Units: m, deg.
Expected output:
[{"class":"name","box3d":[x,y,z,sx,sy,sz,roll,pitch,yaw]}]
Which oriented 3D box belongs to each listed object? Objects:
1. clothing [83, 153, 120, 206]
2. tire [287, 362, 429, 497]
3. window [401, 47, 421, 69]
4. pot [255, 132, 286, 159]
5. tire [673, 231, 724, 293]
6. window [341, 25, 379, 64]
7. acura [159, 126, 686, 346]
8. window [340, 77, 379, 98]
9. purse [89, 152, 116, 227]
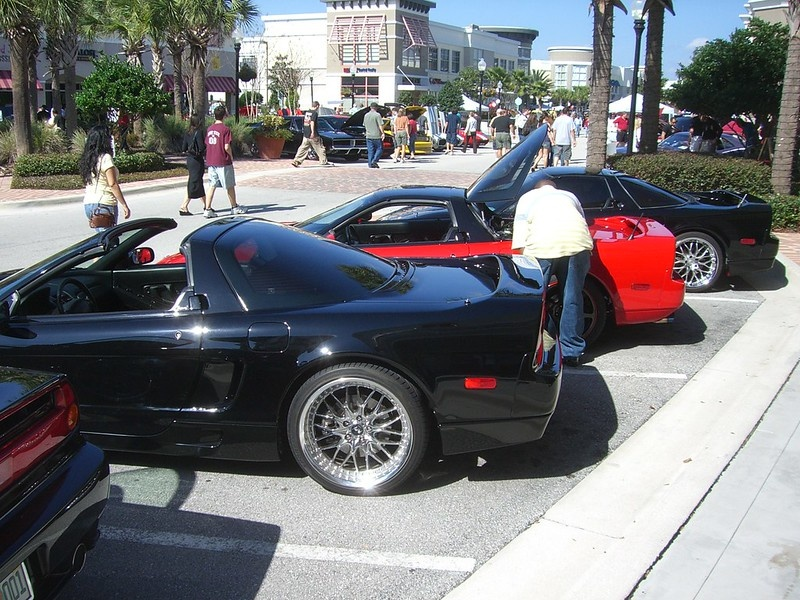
[{"class":"clothing","box3d":[-3.909,-1.593,7.658,0.419,0.612,0.690,-3,18,-17]},{"class":"tire","box3d":[-0.259,0.796,3.705,0.987,0.844,0.298,-4,3,6]},{"class":"window","box3d":[1.862,-35.497,84.701,1.062,3.468,4.400,13,14,33]},{"class":"pot","box3d":[-5.440,-6.622,24.755,1.159,0.725,1.080,-2,13,0]},{"class":"tire","box3d":[3.839,-0.504,7.807,0.960,0.831,0.314,-13,2,-25]},{"class":"window","box3d":[-5.516,-35.879,82.776,5.575,5.176,1.344,-1,4,17]},{"class":"acura","box3d":[0.461,-0.668,6.730,6.014,1.502,2.470,0,12,6]},{"class":"window","box3d":[-5.612,-30.541,83.042,5.397,2.877,1.960,-1,15,-1]},{"class":"purse","box3d":[-3.982,-1.561,7.816,0.503,0.751,0.210,2,12,-11]}]
